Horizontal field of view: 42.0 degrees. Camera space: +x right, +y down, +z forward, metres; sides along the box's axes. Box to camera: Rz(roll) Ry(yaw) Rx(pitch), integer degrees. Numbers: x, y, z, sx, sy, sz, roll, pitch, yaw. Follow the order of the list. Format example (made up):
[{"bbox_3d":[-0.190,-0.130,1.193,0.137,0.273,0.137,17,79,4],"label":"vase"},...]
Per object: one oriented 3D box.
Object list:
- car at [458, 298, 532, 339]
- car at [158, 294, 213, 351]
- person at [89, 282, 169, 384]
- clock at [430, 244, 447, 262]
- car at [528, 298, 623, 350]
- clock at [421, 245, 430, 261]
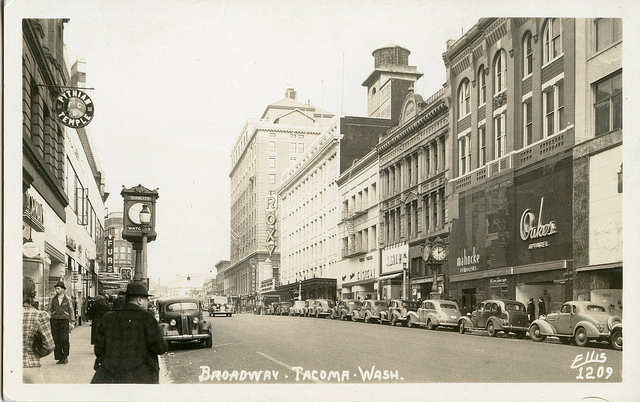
[{"bbox_3d":[4.211,2.843,20.444,0.895,0.745,1.657,7,-9,-28],"label":"car"},{"bbox_3d":[-3.493,3.069,21.246,1.073,0.972,2.017,2,-21,-15],"label":"car"},{"bbox_3d":[-3.673,2.524,16.064,1.383,1.836,0.798,-1,-15,0],"label":"person"},{"bbox_3d":[3.237,1.390,22.879,0.363,0.365,0.085,0,-4,-18],"label":"clock"},{"bbox_3d":[5.862,2.816,19.158,2.106,1.289,0.618,-15,-21,41],"label":"car"},{"bbox_3d":[3.095,1.528,24.383,0.087,0.370,0.365,5,4,-11],"label":"clock"}]
